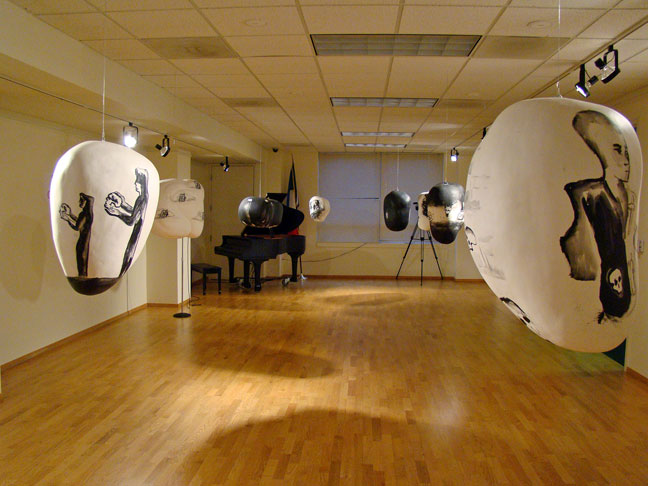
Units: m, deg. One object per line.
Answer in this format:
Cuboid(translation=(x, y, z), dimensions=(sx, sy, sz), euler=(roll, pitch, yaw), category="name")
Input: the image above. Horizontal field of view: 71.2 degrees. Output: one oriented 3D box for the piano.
Cuboid(translation=(-1.272, -0.038, 9.266), dimensions=(1.307, 1.879, 1.994), euler=(4, 6, 34), category="piano")
